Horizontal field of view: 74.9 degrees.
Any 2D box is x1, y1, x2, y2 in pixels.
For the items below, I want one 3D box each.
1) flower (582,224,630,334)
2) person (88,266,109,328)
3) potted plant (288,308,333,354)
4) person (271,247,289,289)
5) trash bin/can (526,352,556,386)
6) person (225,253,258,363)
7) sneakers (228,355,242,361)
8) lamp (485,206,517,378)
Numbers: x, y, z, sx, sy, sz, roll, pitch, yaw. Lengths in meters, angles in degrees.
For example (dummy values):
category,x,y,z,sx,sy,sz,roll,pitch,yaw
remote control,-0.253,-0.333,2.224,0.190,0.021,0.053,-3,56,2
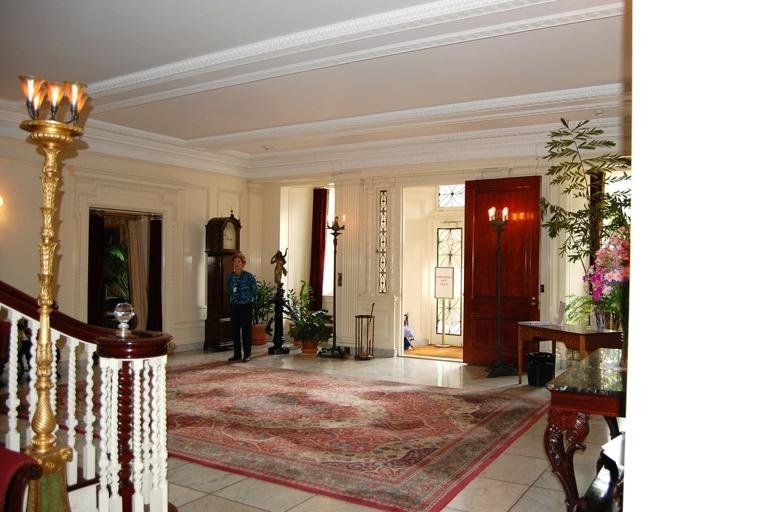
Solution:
category,x,y,z,sx,sy,sz,roll,pitch,yaw
flower,1.427,0.140,3.229,0.225,0.659,0.716,1,-1,22
person,-4.867,0.668,8.509,0.159,0.968,0.422,1,-1,0
potted plant,-1.438,1.492,9.968,0.894,0.764,0.844,1,-10,-4
person,-2.161,0.247,10.285,0.274,0.542,1.528,1,-1,-12
trash bin/can,2.205,1.626,7.151,0.435,0.407,0.439,-1,-7,17
person,-2.552,0.888,8.897,0.442,1.423,0.798,2,-1,-16
sneakers,-2.581,1.757,8.638,0.211,0.075,0.249,1,-1,-14
lamp,1.856,0.516,8.106,0.426,2.695,0.934,1,-1,10
